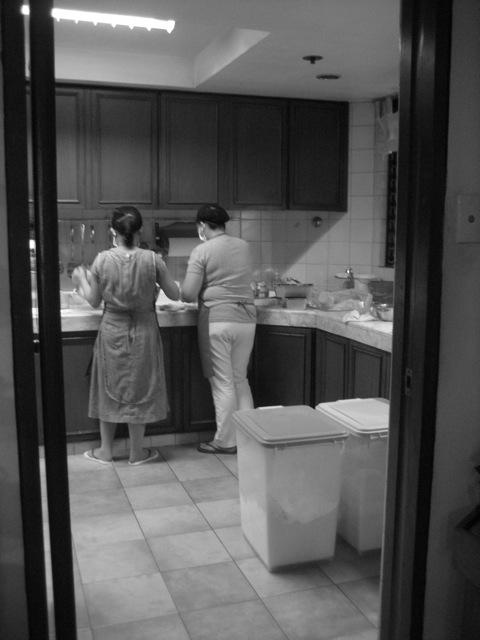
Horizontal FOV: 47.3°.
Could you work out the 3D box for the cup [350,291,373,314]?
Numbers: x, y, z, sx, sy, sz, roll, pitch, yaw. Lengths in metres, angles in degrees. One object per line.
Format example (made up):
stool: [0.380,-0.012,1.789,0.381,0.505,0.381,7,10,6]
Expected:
cup: [0.702,-0.109,3.165,0.087,0.233,0.104,-2,7,-14]

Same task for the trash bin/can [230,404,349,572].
trash bin/can: [0.161,0.563,2.197,0.390,0.728,0.466,-2,8,-15]

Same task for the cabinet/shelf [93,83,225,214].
cabinet/shelf: [-0.560,-1.165,3.602,0.626,0.819,0.261,-1,9,-13]

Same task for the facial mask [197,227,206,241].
facial mask: [-0.237,-0.532,3.403,0.059,0.095,0.088,0,5,-9]

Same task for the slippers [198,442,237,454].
slippers: [-0.146,0.813,3.446,0.157,0.061,0.107,5,0,-2]

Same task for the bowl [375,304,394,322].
bowl: [0.779,-0.044,2.972,0.098,0.117,0.125,0,3,1]

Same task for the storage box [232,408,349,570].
storage box: [0.170,0.575,2.202,0.387,0.731,0.467,-2,8,-15]

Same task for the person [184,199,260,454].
person: [-0.127,0.157,3.364,0.440,1.351,0.229,0,3,2]

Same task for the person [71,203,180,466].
person: [-0.649,0.110,3.153,0.573,1.481,0.441,0,3,3]

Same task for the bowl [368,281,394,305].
bowl: [0.808,-0.162,3.142,0.126,0.133,0.294,0,4,2]

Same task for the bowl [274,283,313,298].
bowl: [0.381,-0.207,3.948,0.237,0.106,0.149,0,4,2]
